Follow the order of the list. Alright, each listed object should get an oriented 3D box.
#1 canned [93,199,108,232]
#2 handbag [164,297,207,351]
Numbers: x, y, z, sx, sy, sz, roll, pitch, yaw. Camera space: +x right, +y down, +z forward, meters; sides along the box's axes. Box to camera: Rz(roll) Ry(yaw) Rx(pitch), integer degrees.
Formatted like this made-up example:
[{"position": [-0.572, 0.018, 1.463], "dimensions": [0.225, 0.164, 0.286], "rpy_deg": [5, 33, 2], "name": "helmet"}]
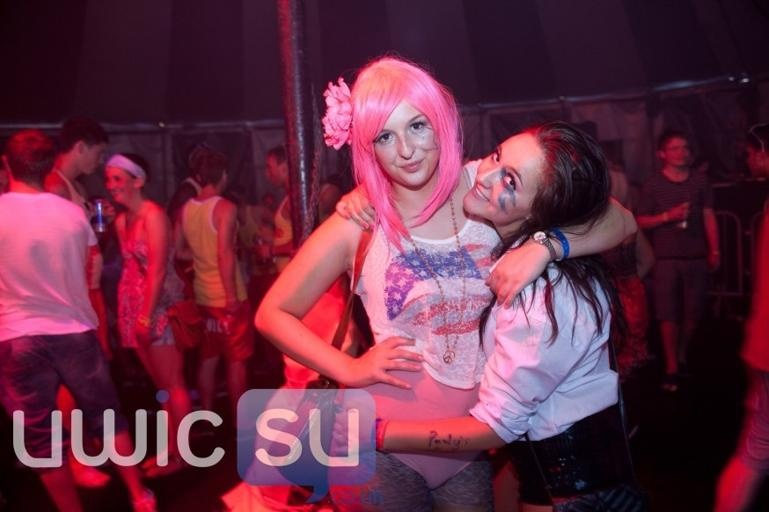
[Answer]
[{"position": [-2.008, -0.291, 3.914], "dimensions": [0.082, 0.230, 0.031], "rpy_deg": [-5, 6, -33], "name": "canned"}, {"position": [-1.454, 0.498, 4.071], "dimensions": [0.085, 0.344, 0.249], "rpy_deg": [-3, 20, 45], "name": "handbag"}]
